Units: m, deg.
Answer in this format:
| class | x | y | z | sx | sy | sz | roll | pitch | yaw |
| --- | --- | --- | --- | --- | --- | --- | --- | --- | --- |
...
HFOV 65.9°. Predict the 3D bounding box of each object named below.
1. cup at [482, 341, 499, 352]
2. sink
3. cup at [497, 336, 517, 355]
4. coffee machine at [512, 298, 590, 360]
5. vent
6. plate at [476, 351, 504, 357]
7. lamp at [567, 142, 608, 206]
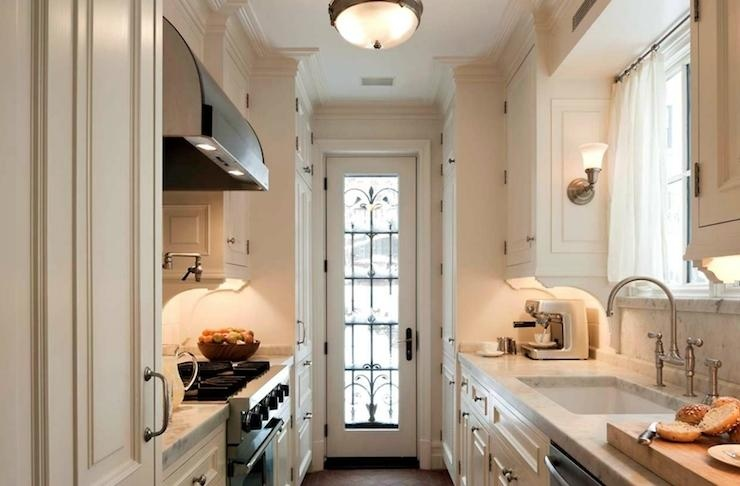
| class | x | y | z | sx | sy | sz | roll | pitch | yaw |
| --- | --- | --- | --- | --- | --- | --- | --- | --- | --- |
| cup | 0.739 | 0.631 | 3.486 | 0.080 | 0.062 | 0.079 | 3 | -5 | 0 |
| sink | 1.094 | 0.720 | 2.644 | 0.738 | 0.174 | 0.302 | -5 | -6 | 44 |
| cup | 0.852 | 0.639 | 3.530 | 0.123 | 0.102 | 0.086 | 1 | 2 | 27 |
| coffee machine | 1.073 | 0.503 | 3.319 | 0.310 | 0.324 | 0.449 | 0 | -6 | 7 |
| vent | -0.727 | -0.652 | 2.638 | 0.403 | 0.395 | 1.066 | -1 | -1 | -4 |
| plate | 0.736 | 0.673 | 3.477 | 0.158 | 0.036 | 0.138 | -2 | -5 | 10 |
| lamp | 1.138 | -0.356 | 2.996 | 0.171 | 0.299 | 0.219 | -1 | -4 | 6 |
